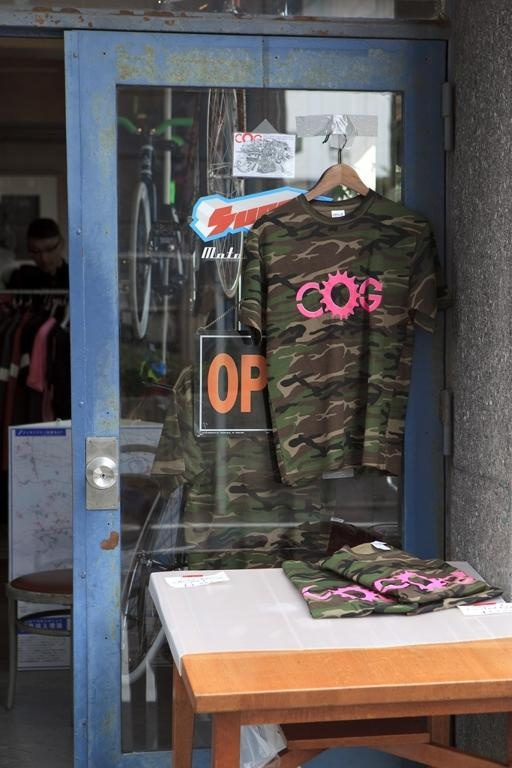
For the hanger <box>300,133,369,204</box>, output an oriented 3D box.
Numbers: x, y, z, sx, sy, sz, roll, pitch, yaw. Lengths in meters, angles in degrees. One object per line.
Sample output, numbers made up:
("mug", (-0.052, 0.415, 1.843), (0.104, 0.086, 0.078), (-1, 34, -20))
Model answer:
("hanger", (0.174, -0.500, 2.122), (0.198, 0.161, 0.006), (-1, 5, -13))
